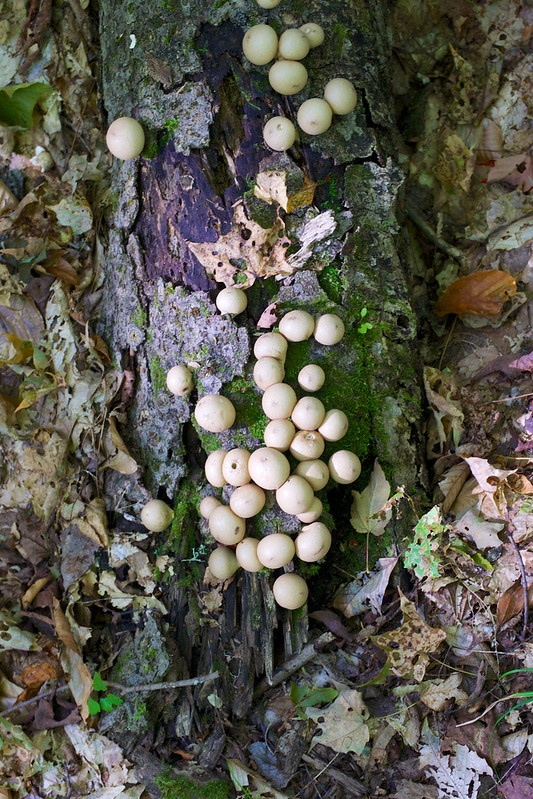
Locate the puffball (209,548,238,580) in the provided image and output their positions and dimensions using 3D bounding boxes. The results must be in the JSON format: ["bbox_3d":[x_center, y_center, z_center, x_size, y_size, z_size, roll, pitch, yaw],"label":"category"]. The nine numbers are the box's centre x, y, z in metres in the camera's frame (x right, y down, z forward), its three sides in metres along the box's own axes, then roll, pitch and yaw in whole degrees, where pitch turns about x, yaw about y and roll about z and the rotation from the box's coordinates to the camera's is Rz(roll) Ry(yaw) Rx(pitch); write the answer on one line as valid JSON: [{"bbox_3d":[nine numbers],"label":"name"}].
[{"bbox_3d":[-0.163,0.606,2.668,0.118,0.112,0.133,-2,85,10],"label":"puffball"}]

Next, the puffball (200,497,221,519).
[{"bbox_3d":[-0.217,0.399,2.691,0.079,0.079,0.089,1,87,5],"label":"puffball"}]

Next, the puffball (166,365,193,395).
[{"bbox_3d":[-0.320,-0.072,2.674,0.110,0.104,0.122,1,93,13],"label":"puffball"}]

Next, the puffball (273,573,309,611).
[{"bbox_3d":[0.097,0.683,2.612,0.124,0.121,0.140,2,95,8],"label":"puffball"}]

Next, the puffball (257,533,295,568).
[{"bbox_3d":[0.028,0.518,2.466,0.130,0.113,0.143,5,82,7],"label":"puffball"}]

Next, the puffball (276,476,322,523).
[{"bbox_3d":[0.108,0.341,2.509,0.098,0.189,0.103,-40,35,6],"label":"puffball"}]

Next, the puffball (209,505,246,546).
[{"bbox_3d":[-0.134,0.435,2.598,0.140,0.131,0.154,1,99,5],"label":"puffball"}]

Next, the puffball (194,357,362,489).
[{"bbox_3d":[0.020,0.134,2.578,0.541,0.286,0.393,-16,61,-1],"label":"puffball"}]

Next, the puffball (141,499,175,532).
[{"bbox_3d":[-0.432,0.446,2.837,0.126,0.110,0.126,2,41,-12],"label":"puffball"}]

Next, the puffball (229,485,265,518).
[{"bbox_3d":[-0.066,0.361,2.567,0.118,0.112,0.136,14,75,-32],"label":"puffball"}]

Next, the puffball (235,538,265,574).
[{"bbox_3d":[-0.067,0.554,2.571,0.113,0.110,0.128,-1,85,6],"label":"puffball"}]
